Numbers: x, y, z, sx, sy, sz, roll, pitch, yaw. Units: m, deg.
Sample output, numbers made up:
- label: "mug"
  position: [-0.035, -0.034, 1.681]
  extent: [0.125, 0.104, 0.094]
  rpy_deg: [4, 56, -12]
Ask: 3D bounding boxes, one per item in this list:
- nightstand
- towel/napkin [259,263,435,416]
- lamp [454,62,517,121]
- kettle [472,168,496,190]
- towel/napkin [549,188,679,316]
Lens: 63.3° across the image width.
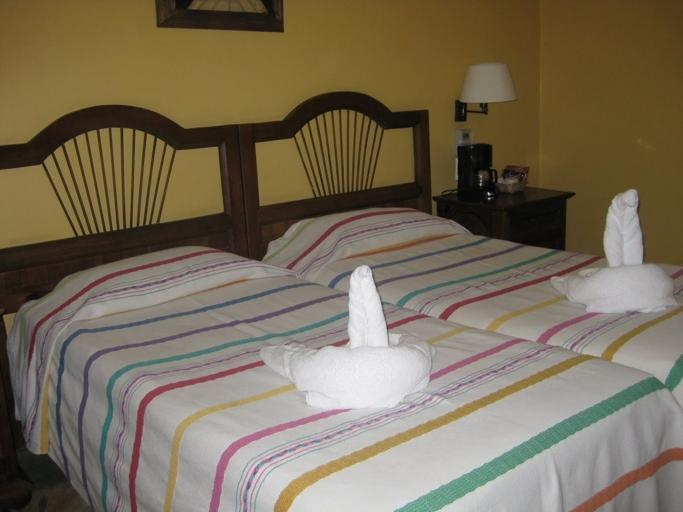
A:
- label: "nightstand"
  position: [1.188, -0.334, 3.977]
  extent: [0.550, 0.599, 0.621]
  rpy_deg: [18, 28, 42]
- label: "towel/napkin"
  position: [0.091, 0.241, 1.911]
  extent: [0.643, 0.448, 0.455]
  rpy_deg: [-10, 22, -26]
- label: "lamp"
  position: [1.027, -1.167, 3.987]
  extent: [0.415, 0.431, 0.480]
  rpy_deg: [-23, 27, -38]
- label: "kettle"
  position: [1.082, -0.568, 4.108]
  extent: [0.121, 0.209, 0.208]
  rpy_deg: [9, 15, 36]
- label: "towel/napkin"
  position: [1.205, -0.065, 2.528]
  extent: [0.482, 0.537, 0.523]
  rpy_deg: [-5, 14, -16]
